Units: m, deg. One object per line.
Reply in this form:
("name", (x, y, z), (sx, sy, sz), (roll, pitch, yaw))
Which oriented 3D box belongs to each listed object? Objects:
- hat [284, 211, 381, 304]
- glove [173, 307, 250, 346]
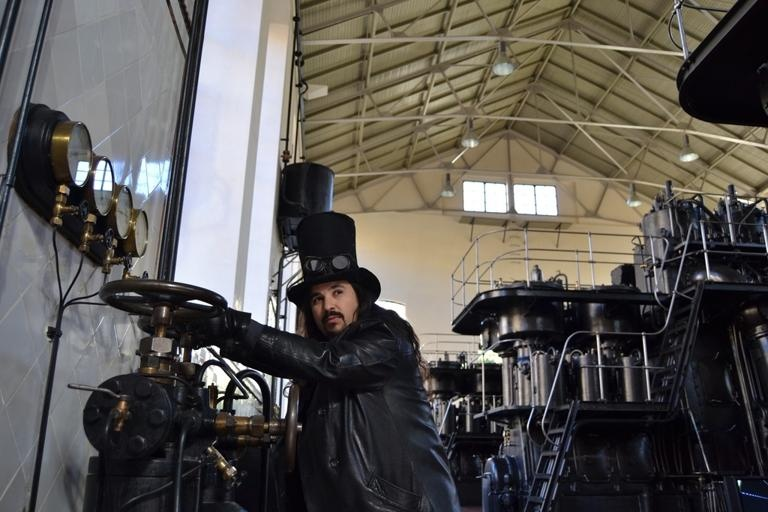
("hat", (-0.364, -0.173, 4.611), (0.589, 0.711, 0.619), (3, -33, -8))
("glove", (-0.925, 0.391, 3.859), (0.235, 0.173, 0.265), (-1, -17, 3))
